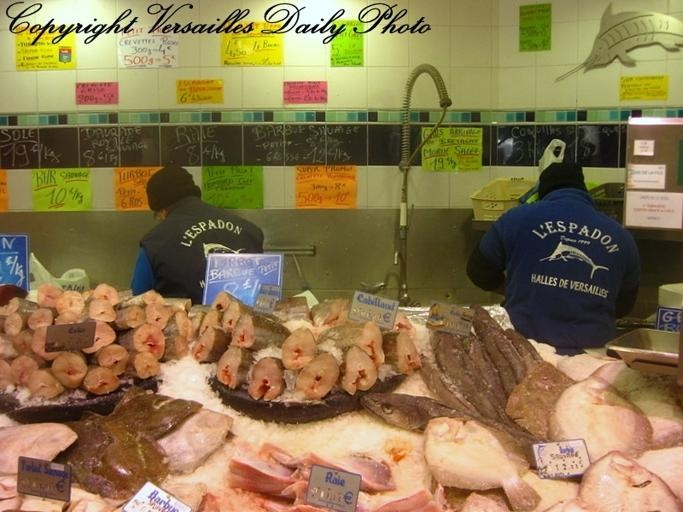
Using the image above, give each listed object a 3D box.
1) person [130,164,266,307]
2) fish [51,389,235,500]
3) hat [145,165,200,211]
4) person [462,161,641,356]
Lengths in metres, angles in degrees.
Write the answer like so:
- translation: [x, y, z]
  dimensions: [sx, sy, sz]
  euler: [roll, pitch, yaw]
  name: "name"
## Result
- translation: [-0.814, -0.119, 2.899]
  dimensions: [0.774, 0.708, 0.528]
  euler: [6, 15, 25]
  name: "person"
- translation: [-0.577, 0.544, 1.568]
  dimensions: [0.415, 0.199, 0.279]
  euler: [5, 14, 20]
  name: "fish"
- translation: [-0.999, -0.415, 3.151]
  dimensions: [0.321, 0.271, 0.294]
  euler: [-8, 9, 2]
  name: "hat"
- translation: [1.053, 0.157, 2.716]
  dimensions: [0.787, 1.255, 0.664]
  euler: [5, 8, 10]
  name: "person"
